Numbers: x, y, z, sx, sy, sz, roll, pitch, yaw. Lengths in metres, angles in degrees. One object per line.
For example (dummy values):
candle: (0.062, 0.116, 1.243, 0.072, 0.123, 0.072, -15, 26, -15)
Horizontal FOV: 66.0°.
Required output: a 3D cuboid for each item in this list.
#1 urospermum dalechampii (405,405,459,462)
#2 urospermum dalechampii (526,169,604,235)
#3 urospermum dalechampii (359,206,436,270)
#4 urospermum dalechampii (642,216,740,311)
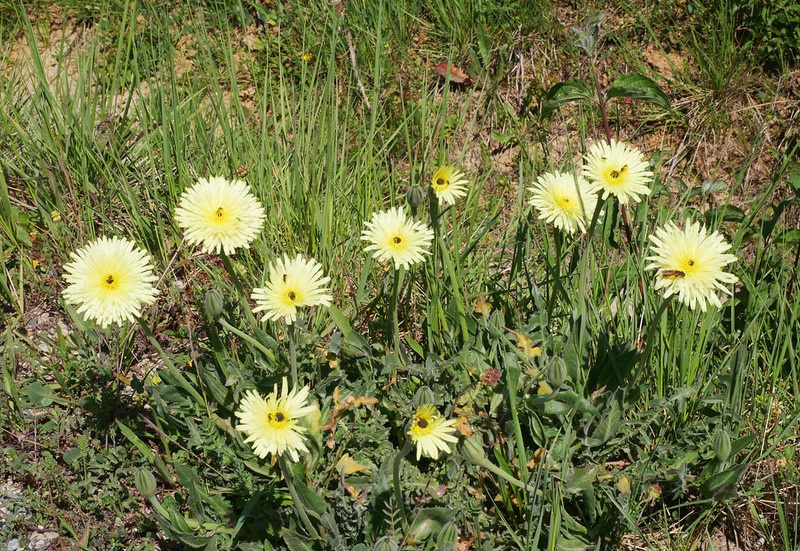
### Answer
urospermum dalechampii: (0.102, 0.536, 2.158, 0.133, 0.266, 0.198, -4, 15, -12)
urospermum dalechampii: (0.704, -0.300, 2.667, 0.246, 0.119, 0.301, -15, 66, -16)
urospermum dalechampii: (0.003, -0.125, 2.531, 0.248, 0.114, 0.295, -23, 67, -19)
urospermum dalechampii: (1.057, -0.042, 2.292, 0.299, 0.453, 0.334, 2, 14, 10)
